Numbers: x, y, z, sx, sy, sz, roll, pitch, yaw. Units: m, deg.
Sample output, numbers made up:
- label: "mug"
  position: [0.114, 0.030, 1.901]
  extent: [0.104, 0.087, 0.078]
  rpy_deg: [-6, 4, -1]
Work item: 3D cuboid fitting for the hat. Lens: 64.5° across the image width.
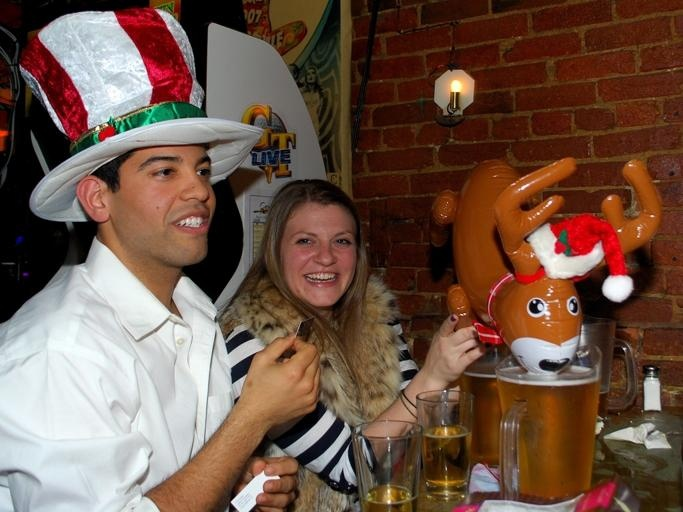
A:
- label: "hat"
  position: [-0.470, -0.212, 1.286]
  extent: [0.457, 0.299, 0.459]
  rpy_deg: [-27, -5, -21]
